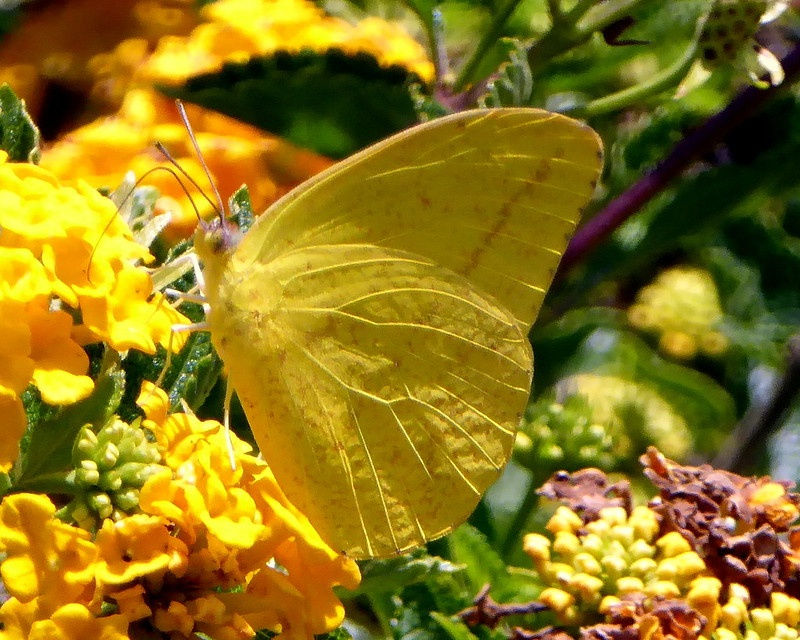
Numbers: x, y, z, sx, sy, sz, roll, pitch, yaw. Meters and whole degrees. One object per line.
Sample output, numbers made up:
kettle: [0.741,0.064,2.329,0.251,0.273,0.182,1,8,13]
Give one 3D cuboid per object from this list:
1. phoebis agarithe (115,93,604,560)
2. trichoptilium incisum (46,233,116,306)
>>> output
phoebis agarithe: [0.001,0.015,1.136,0.416,0.370,0.239,-14,39,-15]
trichoptilium incisum: [-0.267,-0.043,1.014,0.054,0.022,0.058,28,40,-32]
